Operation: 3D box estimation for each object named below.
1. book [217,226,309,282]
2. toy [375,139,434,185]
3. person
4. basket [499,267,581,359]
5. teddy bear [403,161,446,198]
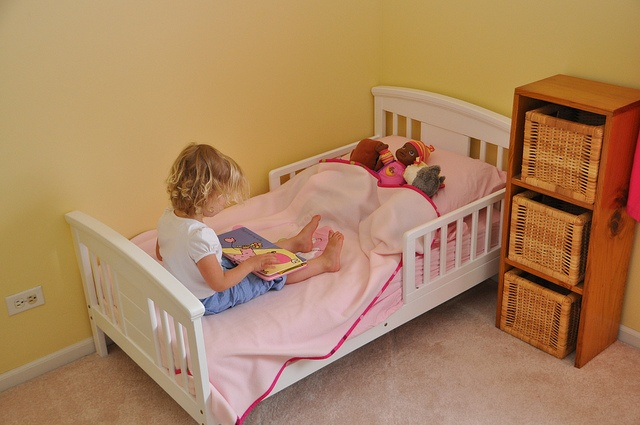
[{"bbox_3d":[-0.322,0.196,2.662,0.233,0.041,0.390,-23,40,-40],"label":"book"},{"bbox_3d":[0.491,-0.275,3.045,0.304,0.118,0.213,-27,54,-28],"label":"toy"},{"bbox_3d":[-0.309,-0.120,2.771,1.166,0.913,0.562,-17,41,-34],"label":"person"},{"bbox_3d":[1.177,0.536,2.727,0.338,0.349,0.263,24,35,37],"label":"basket"},{"bbox_3d":[0.589,-0.178,2.914,0.203,0.099,0.171,38,88,24],"label":"teddy bear"}]
